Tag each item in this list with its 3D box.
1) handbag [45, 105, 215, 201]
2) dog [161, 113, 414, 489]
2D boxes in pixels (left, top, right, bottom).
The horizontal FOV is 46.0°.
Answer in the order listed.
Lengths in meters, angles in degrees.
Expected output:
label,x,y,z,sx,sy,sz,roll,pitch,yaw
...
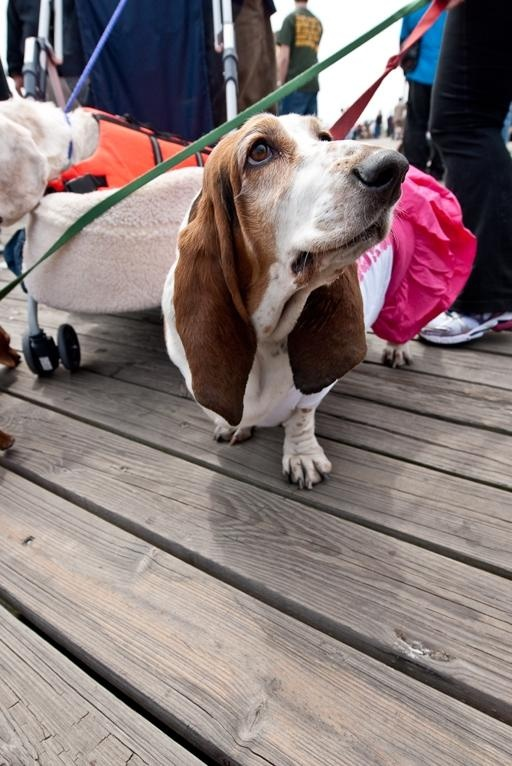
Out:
label,x,y,z,sx,sy,sz,roll,pitch,yaw
handbag,-0.499,-0.862,2.108,0.352,0.152,0.491,43,42,13
dog,0.023,-0.210,1.110,0.283,0.424,0.881,6,31,-8
